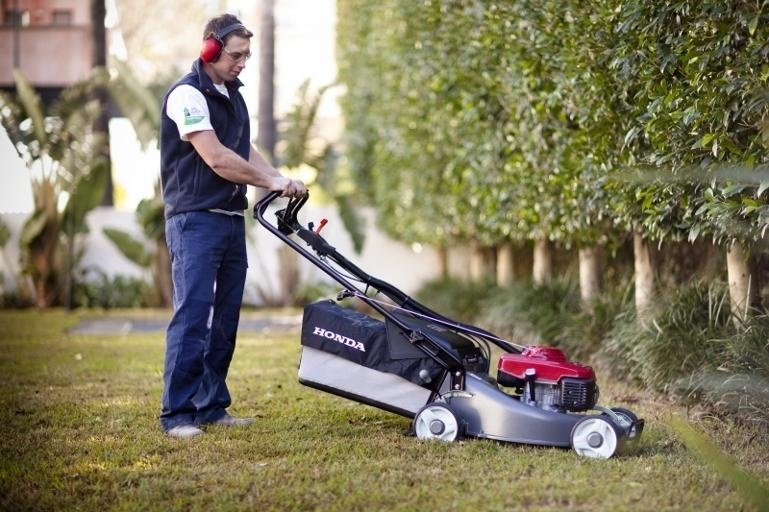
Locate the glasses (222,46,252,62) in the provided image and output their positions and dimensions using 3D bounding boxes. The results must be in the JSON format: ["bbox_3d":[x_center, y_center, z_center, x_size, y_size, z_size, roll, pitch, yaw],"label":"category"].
[{"bbox_3d":[-1.117,-1.565,9.611,0.140,0.100,0.291,5,13,22],"label":"glasses"}]

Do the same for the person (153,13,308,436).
[{"bbox_3d":[-1.333,-0.265,9.574,0.961,3.153,0.767,-4,11,-20],"label":"person"}]

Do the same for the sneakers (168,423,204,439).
[{"bbox_3d":[-1.533,1.340,9.445,0.199,0.099,0.122,-7,-3,13],"label":"sneakers"}]
